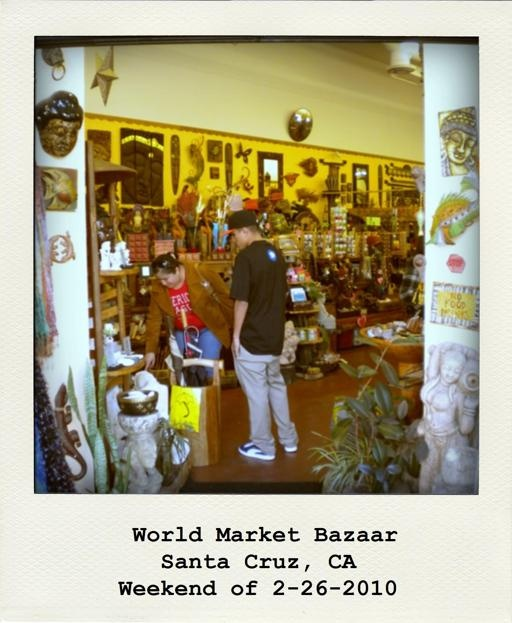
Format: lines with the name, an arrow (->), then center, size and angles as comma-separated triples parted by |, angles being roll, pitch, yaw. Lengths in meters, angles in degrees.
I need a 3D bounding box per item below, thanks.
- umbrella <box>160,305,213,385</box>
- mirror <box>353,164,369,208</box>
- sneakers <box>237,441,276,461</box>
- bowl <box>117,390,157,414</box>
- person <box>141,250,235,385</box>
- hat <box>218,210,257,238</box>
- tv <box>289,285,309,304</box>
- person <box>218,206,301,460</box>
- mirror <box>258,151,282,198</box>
umbrella -> -0.483, 0.241, 3.664 | 0.328, 0.626, 0.175 | 5, 4, -2
mirror -> 2.016, -2.414, 9.715 | 0.314, 0.876, 0.767 | 0, 4, 12
sneakers -> 0.005, 0.989, 3.577 | 0.279, 0.134, 0.099 | 9, 19, 38
bowl -> -0.634, 0.498, 2.743 | 0.152, 0.116, 0.199 | 2, 5, 28
person -> -0.503, 0.114, 3.830 | 0.764, 1.164, 0.529 | -9, 20, -5
hat -> -0.133, -0.605, 3.480 | 0.221, 0.120, 0.161 | 2, 20, 19
tv -> 0.506, -0.199, 6.105 | 0.230, 0.031, 0.301 | 8, 44, -11
person -> 0.055, 0.276, 3.428 | 0.443, 1.511, 0.324 | -1, 3, 0
mirror -> 0.251, -2.227, 8.228 | 0.170, 0.749, 0.620 | 2, 4, 36
